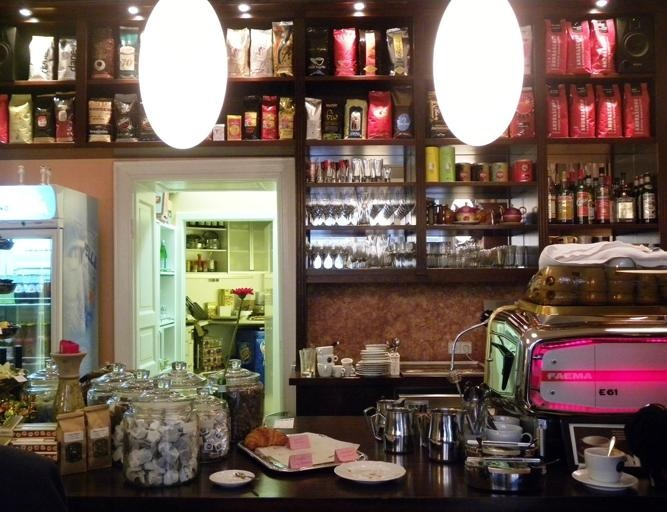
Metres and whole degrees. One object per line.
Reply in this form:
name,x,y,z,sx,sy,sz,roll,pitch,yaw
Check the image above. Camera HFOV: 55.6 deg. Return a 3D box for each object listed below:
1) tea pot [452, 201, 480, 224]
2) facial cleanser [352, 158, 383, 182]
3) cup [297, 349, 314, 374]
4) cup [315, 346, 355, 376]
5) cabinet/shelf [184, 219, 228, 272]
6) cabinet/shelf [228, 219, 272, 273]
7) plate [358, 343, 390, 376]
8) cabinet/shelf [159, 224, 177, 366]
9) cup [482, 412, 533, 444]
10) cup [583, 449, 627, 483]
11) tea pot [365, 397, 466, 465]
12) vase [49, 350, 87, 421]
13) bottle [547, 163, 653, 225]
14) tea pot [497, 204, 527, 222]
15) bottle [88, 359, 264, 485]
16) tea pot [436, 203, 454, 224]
tea pot,0.981,-0.303,4.652,0.210,0.131,0.138,3,3,12
facial cleanser,0.247,-0.609,4.553,0.175,0.162,0.072,1,4,11
cup,-0.185,0.748,4.414,0.156,0.222,0.151,1,-5,0
cup,0.006,0.761,4.476,0.265,0.181,0.172,0,-5,-5
cabinet/shelf,-2.012,-0.061,9.812,0.733,0.631,0.245,1,0,16
cabinet/shelf,-1.383,-0.140,10.179,0.642,0.845,0.281,-1,7,-14
plate,0.271,0.735,4.423,0.222,0.140,0.213,0,-2,4
cabinet/shelf,-1.859,0.447,7.086,0.173,1.520,0.614,-1,-2,-14
cup,0.743,0.739,2.721,0.161,0.110,0.120,1,-6,13
cup,1.055,0.827,2.462,0.157,0.101,0.142,3,-5,-6
tea pot,0.362,0.760,2.722,0.377,0.138,0.210,0,-1,-8
vase,-1.110,0.550,2.646,0.122,0.286,0.192,-1,-1,-24
bottle,1.953,-0.430,4.617,0.508,0.289,0.128,1,-6,-3
tea pot,1.310,-0.303,4.650,0.164,0.109,0.131,0,-3,39
bottle,-0.661,0.687,2.712,0.436,0.411,0.656,-2,-1,25
tea pot,0.818,-0.287,4.597,0.133,0.117,0.130,0,3,0
